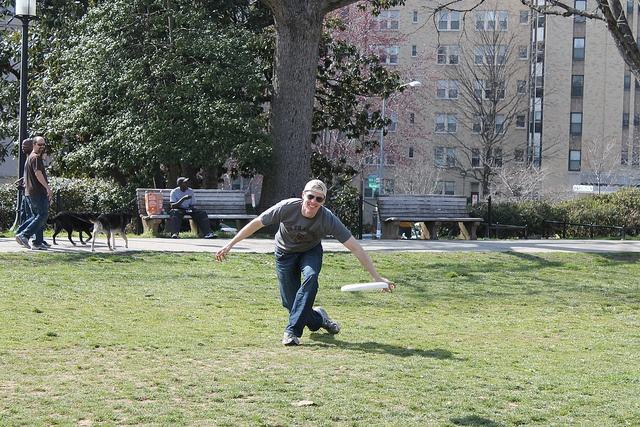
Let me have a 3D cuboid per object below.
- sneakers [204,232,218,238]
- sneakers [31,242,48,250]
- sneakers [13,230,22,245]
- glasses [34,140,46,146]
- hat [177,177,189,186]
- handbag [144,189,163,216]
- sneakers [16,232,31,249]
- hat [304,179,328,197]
[{"bbox_3d":[-3.592,0.761,35.369,0.443,0.171,0.163,-8,-5,38],"label":"sneakers"},{"bbox_3d":[-8.299,1.025,31.600,0.451,0.180,0.166,1,0,-19],"label":"sneakers"},{"bbox_3d":[-8.915,0.740,31.463,0.204,0.442,0.154,-25,24,-10],"label":"sneakers"},{"bbox_3d":[-8.197,-1.996,31.230,0.277,0.088,0.196,0,-1,-36],"label":"glasses"},{"bbox_3d":[-4.607,-1.050,35.440,0.442,0.219,0.306,-19,10,-1],"label":"hat"},{"bbox_3d":[-5.557,-0.351,35.991,0.656,0.780,0.418,0,0,-30],"label":"handbag"},{"bbox_3d":[-8.751,0.851,31.514,0.274,0.202,0.609,-22,-44,3],"label":"sneakers"},{"bbox_3d":[-0.108,-0.596,26.446,0.500,0.418,0.390,0,0,12],"label":"hat"}]
